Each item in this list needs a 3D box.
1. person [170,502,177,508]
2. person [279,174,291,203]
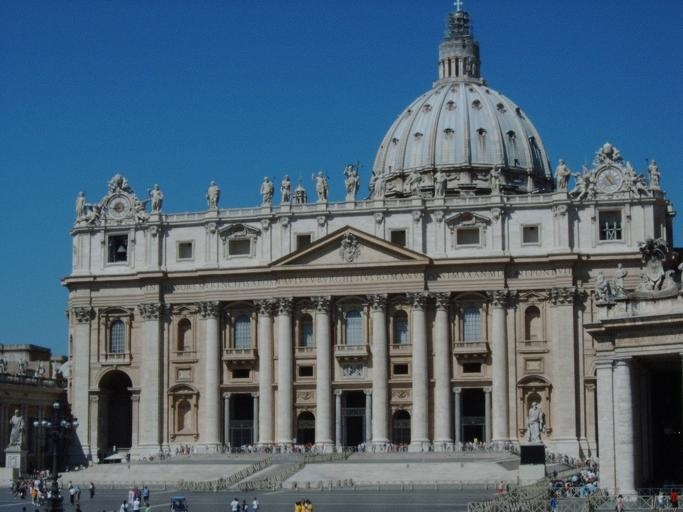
[{"bbox_3d":[-11.705,17.309,114.834,0.167,0.366,0.817,0,4,-14],"label":"person"},{"bbox_3d":[-5.593,-6.591,165.042,0.814,2.589,1.143,2,4,4],"label":"person"}]
